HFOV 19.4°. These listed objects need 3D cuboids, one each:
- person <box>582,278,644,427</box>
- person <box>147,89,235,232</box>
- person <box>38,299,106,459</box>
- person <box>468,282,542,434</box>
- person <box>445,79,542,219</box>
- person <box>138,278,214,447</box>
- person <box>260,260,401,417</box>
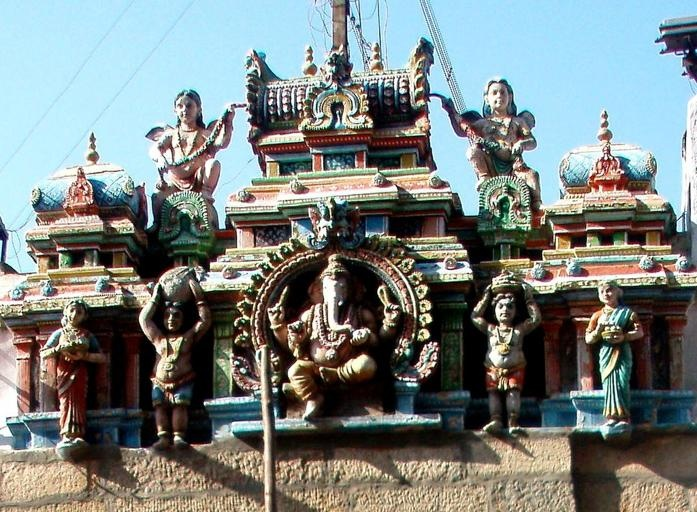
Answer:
[{"bbox_3d":[3.278,1.224,25.122,0.612,1.815,0.540,-3,0,-19],"label":"person"},{"bbox_3d":[-2.129,-1.265,27.673,1.179,2.167,0.724,-6,-26,11],"label":"person"},{"bbox_3d":[-3.471,1.561,25.717,0.709,1.998,0.579,-3,0,-28],"label":"person"},{"bbox_3d":[1.981,1.217,25.314,0.758,1.979,0.699,-3,0,-15],"label":"person"},{"bbox_3d":[1.902,-1.434,27.360,1.241,2.240,0.521,-1,-32,2],"label":"person"},{"bbox_3d":[-2.180,1.357,25.595,0.840,2.172,0.595,-3,0,-6],"label":"person"},{"bbox_3d":[-0.118,1.005,25.348,1.335,2.045,0.701,-3,0,1],"label":"person"}]
